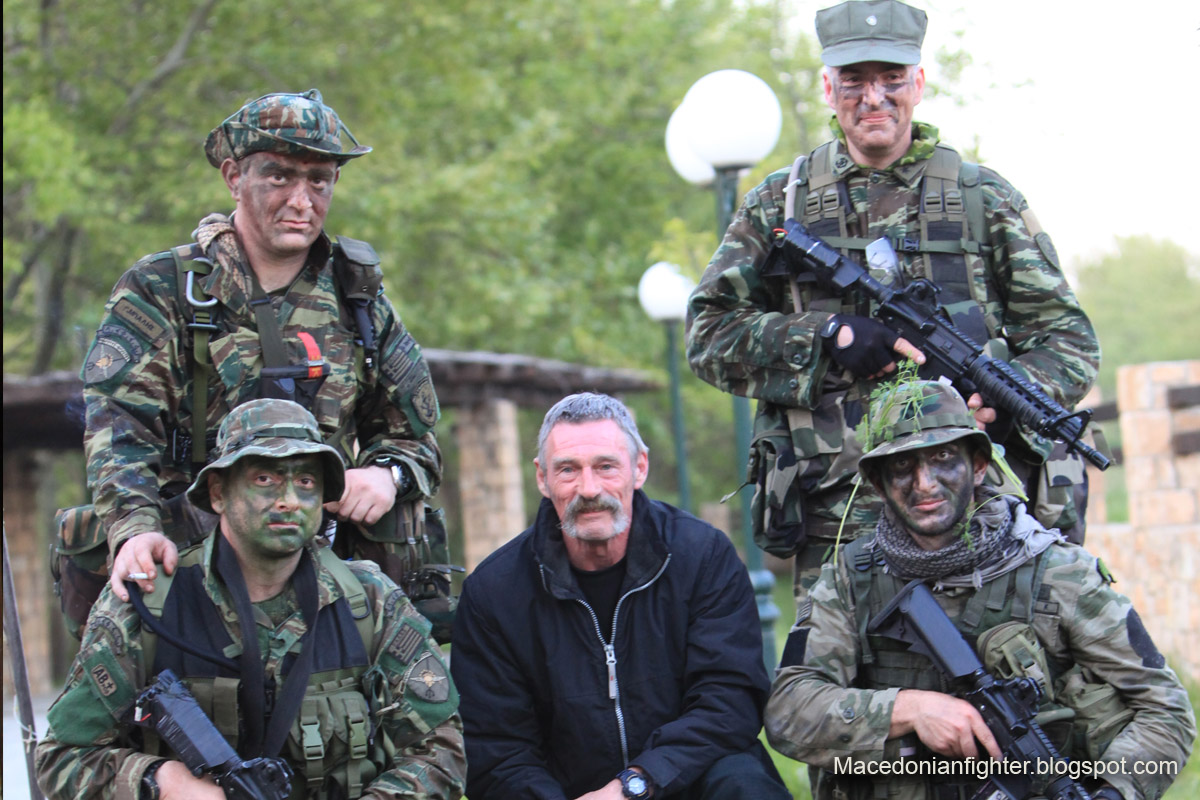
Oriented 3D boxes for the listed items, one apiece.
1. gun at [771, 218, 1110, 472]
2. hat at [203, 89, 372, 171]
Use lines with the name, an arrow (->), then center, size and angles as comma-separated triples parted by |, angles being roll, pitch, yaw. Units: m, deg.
gun -> 1.890, -0.291, 10.945 | 0.606, 1.638, 0.283 | -47, -19, -2
hat -> -1.826, -1.521, 10.936 | 0.577, 0.280, 0.522 | -4, 0, 21
